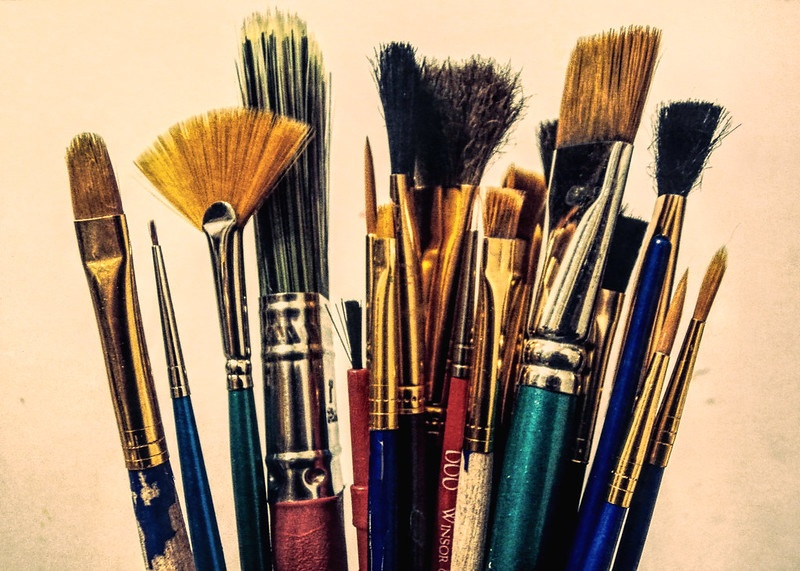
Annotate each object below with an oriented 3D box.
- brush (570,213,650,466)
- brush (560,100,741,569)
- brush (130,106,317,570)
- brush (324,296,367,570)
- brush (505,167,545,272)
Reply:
[{"bbox_3d":[0.265,0.068,1.193,0.045,0.335,0.039,16,3,-7],"label":"brush"},{"bbox_3d":[0.325,0.006,1.245,0.126,0.741,0.144,16,-9,17],"label":"brush"},{"bbox_3d":[-0.230,0.046,1.168,0.210,0.565,0.045,-6,4,8],"label":"brush"},{"bbox_3d":[-0.072,0.183,1.246,0.045,0.436,0.039,2,-4,-35],"label":"brush"},{"bbox_3d":[0.168,-0.082,1.229,0.040,0.115,0.082,8,-5,37],"label":"brush"}]
